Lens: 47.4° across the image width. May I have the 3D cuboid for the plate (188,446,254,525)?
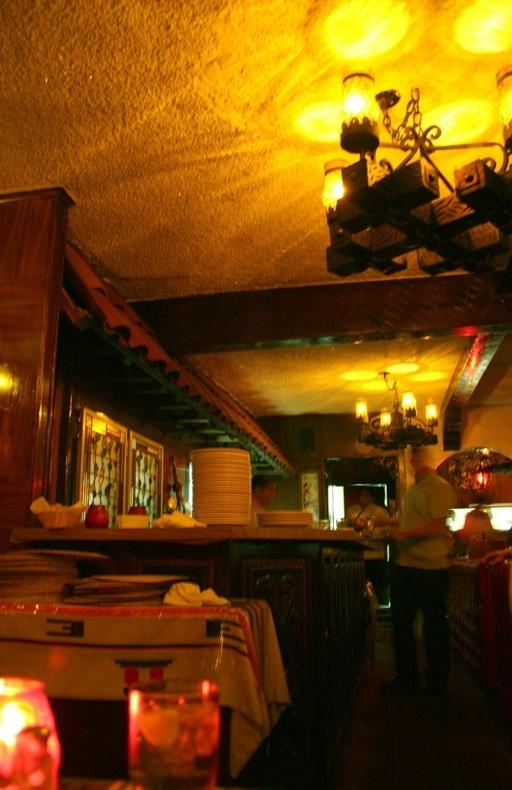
[{"bbox_3d":[-0.200,0.529,3.366,0.388,0.462,0.415,1,-13,-12],"label":"plate"}]

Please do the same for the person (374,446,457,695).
[{"bbox_3d":[1.364,1.516,4.761,0.567,1.671,0.496,-5,-12,19],"label":"person"}]

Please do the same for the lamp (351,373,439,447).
[{"bbox_3d":[2.016,0.278,8.404,0.999,1.132,2.845,-4,-12,15],"label":"lamp"}]

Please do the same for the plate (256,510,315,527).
[{"bbox_3d":[0.153,0.682,3.198,0.300,0.081,0.202,-1,-11,0],"label":"plate"}]
